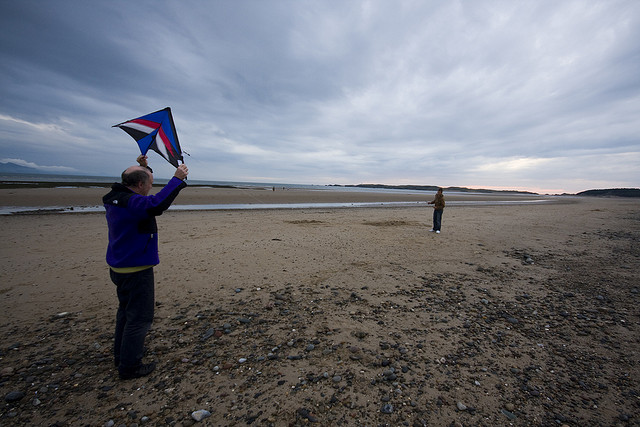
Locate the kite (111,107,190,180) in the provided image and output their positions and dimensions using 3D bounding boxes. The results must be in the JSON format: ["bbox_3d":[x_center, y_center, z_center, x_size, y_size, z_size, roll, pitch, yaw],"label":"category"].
[{"bbox_3d":[-3.765,-1.748,8.159,1.184,1.301,0.326,3,7,-1],"label":"kite"}]
